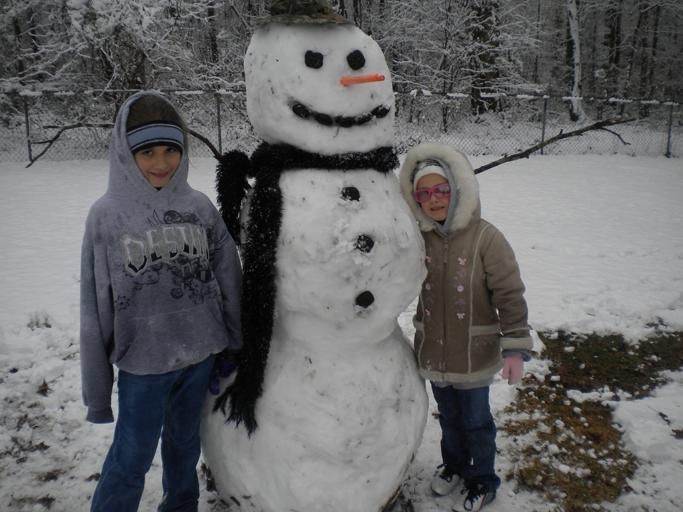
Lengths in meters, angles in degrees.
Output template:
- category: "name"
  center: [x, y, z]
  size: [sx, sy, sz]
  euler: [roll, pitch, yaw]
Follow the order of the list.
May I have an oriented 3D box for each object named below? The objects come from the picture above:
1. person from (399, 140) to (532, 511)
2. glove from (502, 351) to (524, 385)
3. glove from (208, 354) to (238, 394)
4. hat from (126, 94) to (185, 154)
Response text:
- category: "person"
  center: [0.886, 0.551, 4.537]
  size: [0.934, 2.701, 0.321]
  euler: [1, 9, 8]
- category: "glove"
  center: [1.209, 0.789, 4.399]
  size: [0.137, 0.223, 0.138]
  euler: [2, 9, 15]
- category: "glove"
  center: [-0.852, 0.842, 4.462]
  size: [0.186, 0.321, 0.084]
  euler: [26, 12, 25]
- category: "hat"
  center: [-1.247, -0.917, 4.238]
  size: [0.318, 0.387, 0.409]
  euler: [-18, 32, -22]
